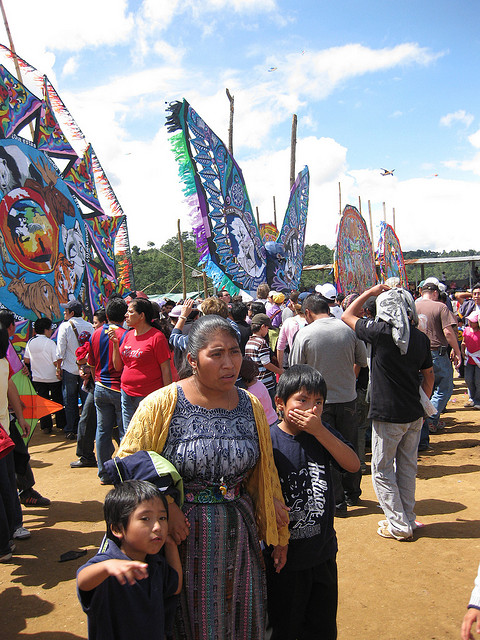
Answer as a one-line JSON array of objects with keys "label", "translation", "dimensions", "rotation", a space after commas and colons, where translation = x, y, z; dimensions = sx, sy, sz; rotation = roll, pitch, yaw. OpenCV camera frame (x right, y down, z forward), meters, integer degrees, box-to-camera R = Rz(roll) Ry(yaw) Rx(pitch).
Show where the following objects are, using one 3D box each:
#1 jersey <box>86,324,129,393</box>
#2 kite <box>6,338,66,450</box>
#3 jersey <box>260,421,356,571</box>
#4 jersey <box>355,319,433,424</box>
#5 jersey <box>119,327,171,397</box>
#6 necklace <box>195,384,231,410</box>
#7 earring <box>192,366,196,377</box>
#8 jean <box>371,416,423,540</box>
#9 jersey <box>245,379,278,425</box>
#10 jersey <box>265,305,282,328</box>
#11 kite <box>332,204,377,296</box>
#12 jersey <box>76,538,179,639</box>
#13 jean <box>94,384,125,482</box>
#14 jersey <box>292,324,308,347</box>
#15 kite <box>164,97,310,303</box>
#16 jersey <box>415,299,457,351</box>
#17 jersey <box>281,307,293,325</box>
[{"label": "jersey", "translation": [-1.315, 0.390, 5.196], "dimensions": [0.576, 0.627, 0.363], "rotation": [5, -5, -1]}, {"label": "kite", "translation": [-2.548, 0.846, 6.306], "dimensions": [1.354, 1.320, 0.024], "rotation": [-26, -4, 38]}, {"label": "jersey", "translation": [0.268, 0.750, 2.160], "dimensions": [0.268, 0.538, 0.259], "rotation": [-2, 1, 5]}, {"label": "jersey", "translation": [1.254, 0.397, 4.083], "dimensions": [0.683, 0.793, 0.465], "rotation": [0, 2, -8]}, {"label": "jersey", "translation": [-0.886, 0.367, 4.557], "dimensions": [0.544, 0.592, 0.350], "rotation": [3, 5, 36]}, {"label": "necklace", "translation": [-0.101, 0.298, 1.947], "dimensions": [0.132, 0.098, 0.080], "rotation": [-2, 1, -12]}, {"label": "earring", "translation": [-0.176, 0.202, 1.941], "dimensions": [0.008, 0.041, 0.052], "rotation": [-2, 1, -10]}, {"label": "jean", "translation": [1.243, 1.248, 4.001], "dimensions": [0.385, 0.979, 0.293], "rotation": [-2, 1, 0]}, {"label": "jersey", "translation": [0.187, 0.714, 4.332], "dimensions": [0.245, 0.437, 0.629], "rotation": [-2, 1, 3]}, {"label": "jersey", "translation": [0.549, -0.042, 8.215], "dimensions": [0.287, 0.208, 0.375], "rotation": [-44, 8, -11]}, {"label": "kite", "translation": [4.210, -2.437, 18.514], "dimensions": [0.204, 3.744, 3.948], "rotation": [-1, 6, 38]}, {"label": "jersey", "translation": [-0.364, 0.907, 1.671], "dimensions": [0.337, 0.335, 0.172], "rotation": [-2, 1, -22]}, {"label": "jean", "translation": [-1.295, 1.049, 5.282], "dimensions": [0.331, 1.178, 0.447], "rotation": [-1, 6, -7]}, {"label": "jersey", "translation": [0.546, 0.162, 4.910], "dimensions": [0.197, 0.192, 0.052], "rotation": [3, 19, -6]}, {"label": "kite", "translation": [0.599, -2.220, 12.089], "dimensions": [0.506, 4.232, 6.096], "rotation": [-4, -4, 41]}, {"label": "jersey", "translation": [2.718, 0.085, 7.153], "dimensions": [0.337, 0.722, 0.876], "rotation": [-5, 2, -26]}, {"label": "jersey", "translation": [0.747, -0.044, 8.338], "dimensions": [0.195, 0.332, 0.260], "rotation": [-1, 3, -11]}]
